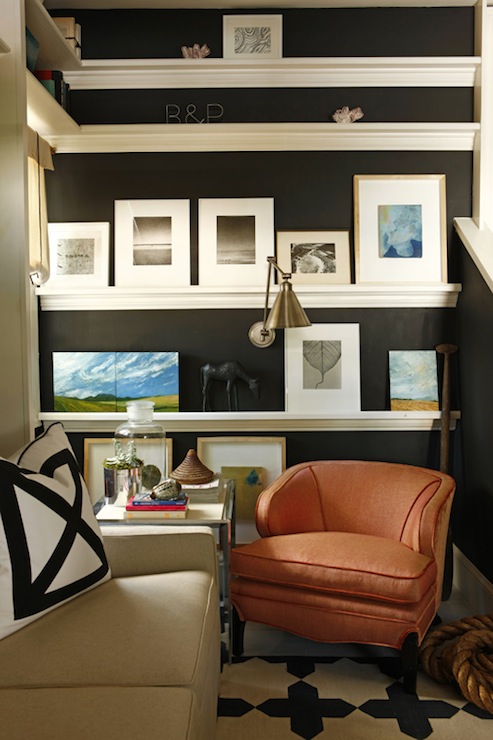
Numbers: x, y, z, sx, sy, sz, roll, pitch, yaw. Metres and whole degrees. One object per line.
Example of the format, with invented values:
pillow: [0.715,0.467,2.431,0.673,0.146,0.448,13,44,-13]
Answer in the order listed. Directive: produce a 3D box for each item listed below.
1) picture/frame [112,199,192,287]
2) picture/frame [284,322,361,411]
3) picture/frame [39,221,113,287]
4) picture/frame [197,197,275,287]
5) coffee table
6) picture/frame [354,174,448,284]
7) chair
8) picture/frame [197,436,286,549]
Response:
picture/frame: [-0.453,-0.635,3.038,0.385,0.503,0.020,0,0,-3]
picture/frame: [0.360,-0.005,3.014,0.385,0.524,0.021,0,-1,1]
picture/frame: [-0.839,-0.571,3.020,0.286,0.337,0.021,0,1,-3]
picture/frame: [-0.052,-0.635,3.021,0.401,0.524,0.021,0,5,2]
coffee table: [-0.293,0.671,2.396,0.454,0.379,0.483,0,-1,6]
picture/frame: [0.748,-0.697,3.025,0.474,0.621,0.025,-1,1,-3]
chair: [0.403,0.635,2.455,0.736,0.714,0.725,0,-5,22]
picture/frame: [-0.008,0.528,2.698,0.465,0.632,0.028,-1,1,5]
